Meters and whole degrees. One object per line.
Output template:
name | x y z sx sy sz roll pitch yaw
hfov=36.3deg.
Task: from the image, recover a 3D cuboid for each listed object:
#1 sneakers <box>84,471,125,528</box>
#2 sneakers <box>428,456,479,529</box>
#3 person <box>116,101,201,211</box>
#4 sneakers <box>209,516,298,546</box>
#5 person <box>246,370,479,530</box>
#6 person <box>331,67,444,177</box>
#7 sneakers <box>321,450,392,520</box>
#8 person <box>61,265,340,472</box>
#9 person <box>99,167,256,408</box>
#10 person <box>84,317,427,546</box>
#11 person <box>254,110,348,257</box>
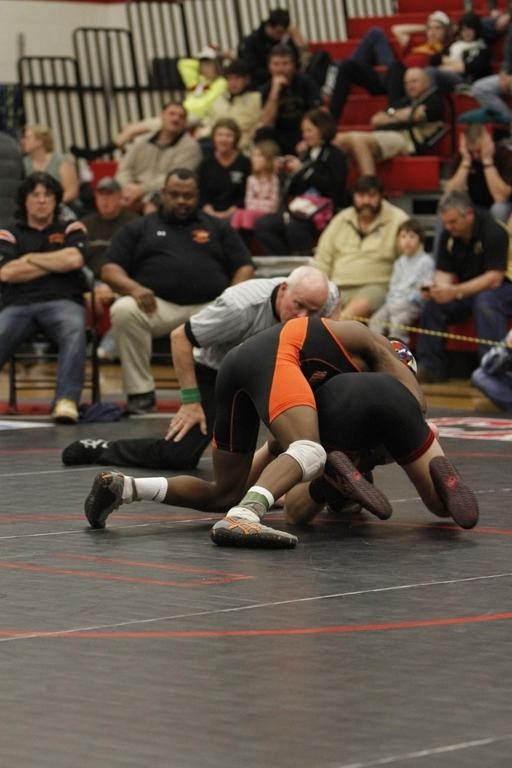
sneakers | -0.614 0.469 3.222 0.173 0.263 0.108 23 30 14
sneakers | 0.784 0.431 3.077 0.175 0.310 0.077 -37 9 -35
person | -1.219 -2.895 9.861 0.992 1.334 0.885 17 25 2
sneakers | -0.018 0.548 2.896 0.285 0.088 0.127 4 -7 -10
person | 0.490 0.231 3.259 0.744 0.545 0.909 -5 39 12
person | 1.629 -3.140 9.887 1.474 1.536 0.731 -12 22 -12
sneakers | 0.377 0.373 2.974 0.128 0.143 0.368 -39 68 -20
person | -0.114 -0.024 4.063 1.285 1.306 0.552 12 21 0
person | -0.637 -0.878 7.048 1.569 1.975 1.167 -8 27 -20
person | 0.152 0.168 3.253 1.379 1.165 0.700 21 -27 -32
person | 0.567 -2.223 9.038 1.111 1.849 0.774 -18 35 -13
